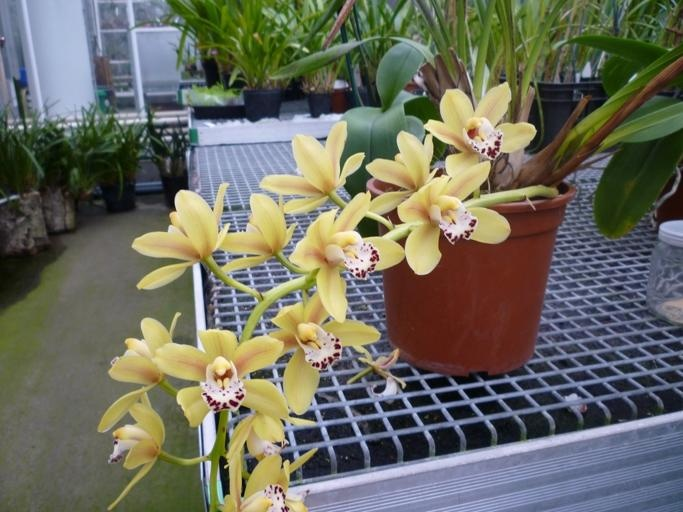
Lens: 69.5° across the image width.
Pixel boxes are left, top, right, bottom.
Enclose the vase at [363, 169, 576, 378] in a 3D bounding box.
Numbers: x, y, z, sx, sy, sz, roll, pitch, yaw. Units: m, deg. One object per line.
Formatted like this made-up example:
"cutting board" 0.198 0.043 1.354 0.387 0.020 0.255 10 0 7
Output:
"vase" 0.168 0.022 0.691 0.232 0.204 0.231 1 21 11
